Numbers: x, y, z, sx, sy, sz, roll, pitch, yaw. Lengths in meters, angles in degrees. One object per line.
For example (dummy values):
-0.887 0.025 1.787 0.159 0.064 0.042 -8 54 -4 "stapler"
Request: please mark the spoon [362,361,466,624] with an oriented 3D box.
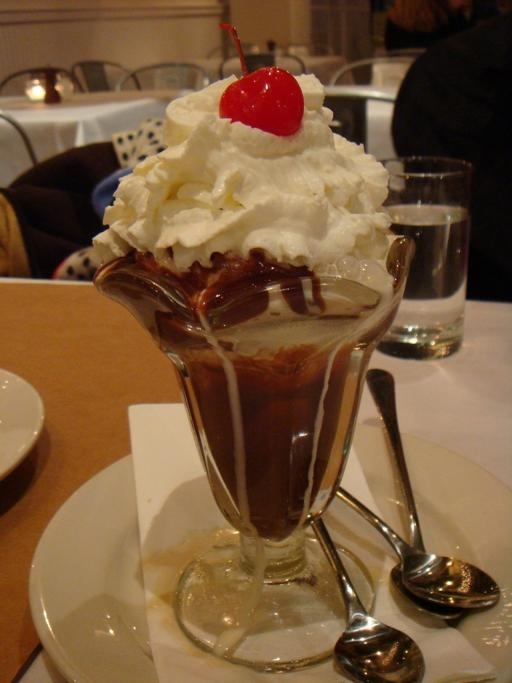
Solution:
0.150 0.104 0.631 0.042 0.024 0.183 -5 37 -3 "spoon"
